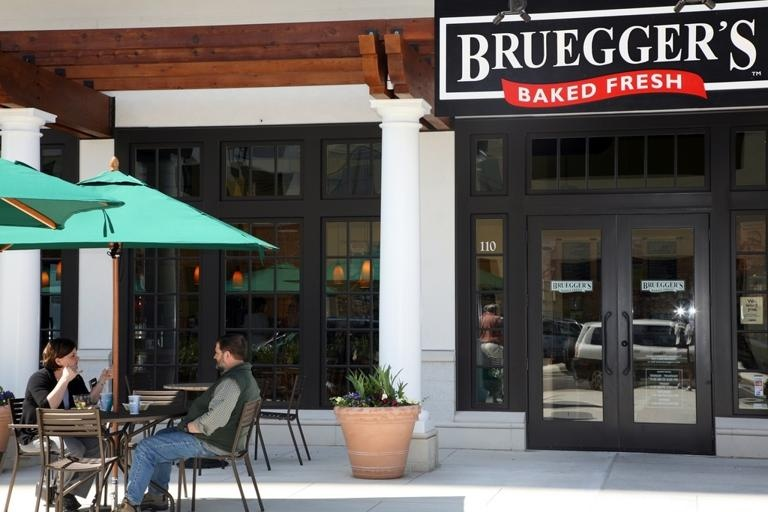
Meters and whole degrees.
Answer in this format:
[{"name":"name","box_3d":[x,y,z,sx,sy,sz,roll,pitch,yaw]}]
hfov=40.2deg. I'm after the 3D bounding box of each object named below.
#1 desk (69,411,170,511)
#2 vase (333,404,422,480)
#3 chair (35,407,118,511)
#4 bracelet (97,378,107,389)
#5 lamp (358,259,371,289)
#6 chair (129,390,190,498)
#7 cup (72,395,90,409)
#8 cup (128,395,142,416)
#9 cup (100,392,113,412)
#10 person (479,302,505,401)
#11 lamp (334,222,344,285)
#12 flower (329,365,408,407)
[{"name":"desk","box_3d":[-2.993,2.113,11.513,1.228,1.222,1.119,2,-16,5]},{"name":"vase","box_3d":[-0.075,2.254,13.040,1.152,0.884,1.134,-6,-8,39]},{"name":"chair","box_3d":[-3.219,2.130,11.071,0.803,1.123,0.986,-1,-6,-8]},{"name":"bracelet","box_3d":[-3.193,1.415,11.811,0.089,0.045,0.107,-3,-19,-1]},{"name":"lamp","box_3d":[-0.264,0.228,14.741,0.180,0.387,0.051,-2,-6,1]},{"name":"chair","box_3d":[-2.382,2.124,11.126,0.693,1.076,0.847,-1,-6,-11]},{"name":"cup","box_3d":[-3.256,1.539,11.206,0.154,0.126,0.163,0,-10,0]},{"name":"cup","box_3d":[-2.669,1.588,11.204,0.166,0.214,0.172,0,-8,0]},{"name":"cup","box_3d":[-3.003,1.553,11.313,0.159,0.176,0.170,-1,-10,0]},{"name":"person","box_3d":[1.542,1.261,14.598,0.405,1.262,0.376,-3,-2,40]},{"name":"lamp","box_3d":[-0.631,-0.055,14.800,0.205,0.807,0.089,-2,-6,-1]},{"name":"flower","box_3d":[-0.134,1.644,12.942,0.864,0.411,0.612,3,-9,-13]}]
